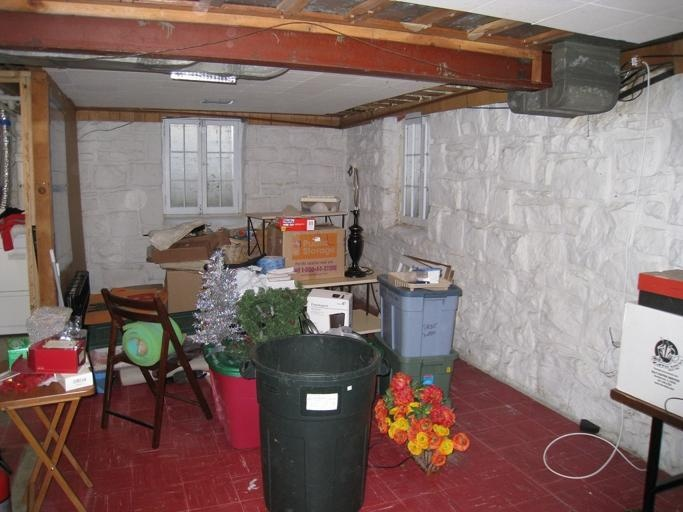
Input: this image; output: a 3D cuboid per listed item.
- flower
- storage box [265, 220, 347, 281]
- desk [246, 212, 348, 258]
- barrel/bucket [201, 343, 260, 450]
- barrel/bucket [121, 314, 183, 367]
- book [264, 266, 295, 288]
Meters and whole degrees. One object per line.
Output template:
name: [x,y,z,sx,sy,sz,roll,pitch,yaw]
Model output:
flower: [0.485,1.210,3.692,0.748,0.461,0.580,28,29,-25]
storage box: [-0.348,-0.114,5.518,0.678,0.614,0.471,1,17,-14]
desk: [-0.570,-0.218,6.719,1.170,0.737,0.583,-2,2,10]
barrel/bucket: [-0.780,1.110,4.034,0.529,0.682,0.742,-3,6,-31]
barrel/bucket: [-1.468,0.648,3.971,0.365,0.418,0.339,-6,6,1]
book: [-0.541,0.205,4.928,0.250,0.172,0.510,1,9,18]
